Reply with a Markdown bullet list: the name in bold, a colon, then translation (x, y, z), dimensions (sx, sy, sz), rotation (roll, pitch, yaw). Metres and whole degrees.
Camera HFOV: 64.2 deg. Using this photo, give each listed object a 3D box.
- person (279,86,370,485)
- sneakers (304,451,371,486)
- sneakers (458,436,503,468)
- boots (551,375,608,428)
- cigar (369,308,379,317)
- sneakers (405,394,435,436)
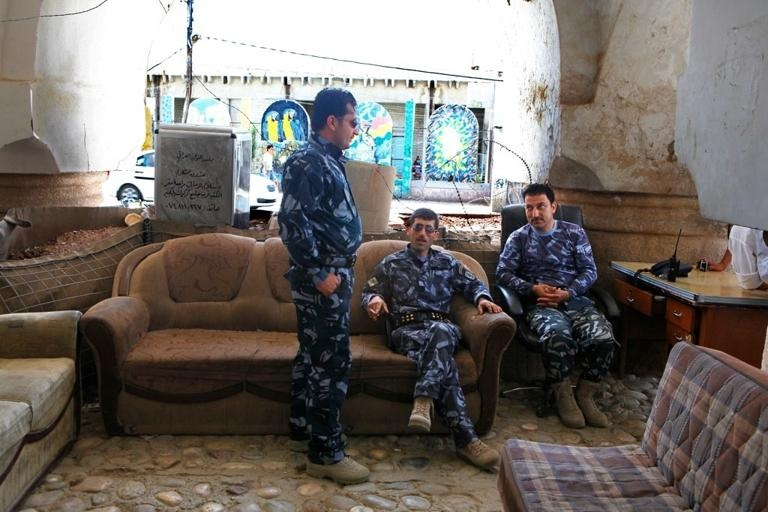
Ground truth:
- **person**: translation (-0.393, 0.187, 3.914), dimensions (0.563, 2.481, 0.505), rotation (0, 9, -10)
- **sneakers**: translation (-0.300, 1.371, 3.999), dimensions (0.414, 0.190, 0.158), rotation (3, 0, 5)
- **sneakers**: translation (0.639, 1.312, 4.124), dimensions (0.129, 0.144, 0.315), rotation (-28, 24, -37)
- **boots**: translation (1.481, 1.107, 4.605), dimensions (0.324, 0.182, 0.433), rotation (-1, 4, -10)
- **cigar**: translation (-0.072, 0.403, 4.406), dimensions (0.046, 0.061, 0.017), rotation (-1, 3, 8)
- **sneakers**: translation (0.256, 1.083, 4.141), dimensions (0.122, 0.285, 0.324), rotation (3, 9, 11)
